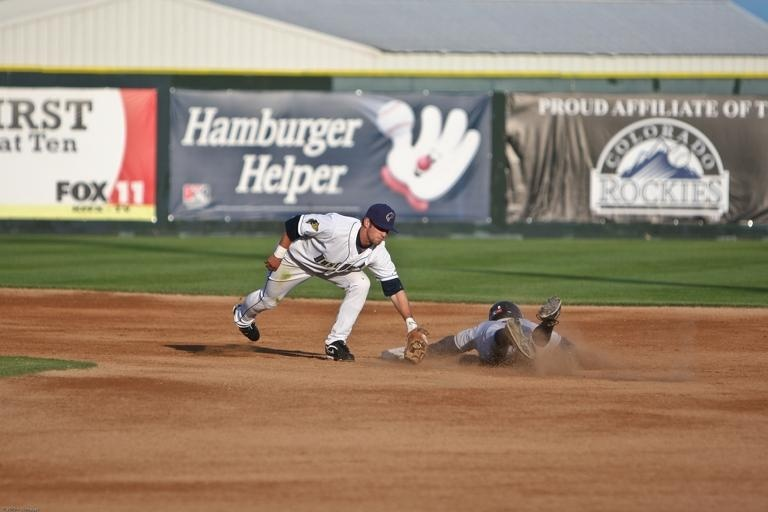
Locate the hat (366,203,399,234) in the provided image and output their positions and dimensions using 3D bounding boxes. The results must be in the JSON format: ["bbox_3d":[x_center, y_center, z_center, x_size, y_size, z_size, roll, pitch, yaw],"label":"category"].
[{"bbox_3d":[-0.095,-0.706,32.406,0.550,0.527,0.333,2,3,-1],"label":"hat"}]

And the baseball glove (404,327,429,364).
[{"bbox_3d":[0.623,1.729,32.563,0.421,0.656,0.338,8,7,1],"label":"baseball glove"}]

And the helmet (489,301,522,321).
[{"bbox_3d":[2.324,1.106,32.858,0.512,0.385,0.364,-19,11,16],"label":"helmet"}]

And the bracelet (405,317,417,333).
[{"bbox_3d":[0.513,1.326,32.641,0.201,0.129,0.307,7,45,-14],"label":"bracelet"}]
